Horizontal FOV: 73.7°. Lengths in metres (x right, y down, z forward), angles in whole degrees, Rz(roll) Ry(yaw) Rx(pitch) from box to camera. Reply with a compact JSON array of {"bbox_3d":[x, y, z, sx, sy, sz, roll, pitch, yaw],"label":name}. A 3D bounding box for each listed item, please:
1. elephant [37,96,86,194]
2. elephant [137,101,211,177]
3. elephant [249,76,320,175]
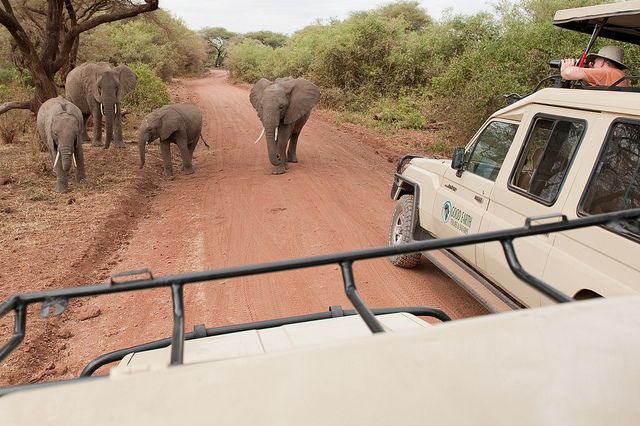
[{"bbox_3d":[-5.567,-1.525,9.374,0.837,1.533,2.251,-13,30,-28],"label":"elephant"},{"bbox_3d":[-3.845,-1.892,11.238,1.022,1.762,2.371,6,19,24],"label":"elephant"},{"bbox_3d":[-0.949,-2.476,11.886,1.966,2.496,2.654,6,17,14],"label":"elephant"}]
